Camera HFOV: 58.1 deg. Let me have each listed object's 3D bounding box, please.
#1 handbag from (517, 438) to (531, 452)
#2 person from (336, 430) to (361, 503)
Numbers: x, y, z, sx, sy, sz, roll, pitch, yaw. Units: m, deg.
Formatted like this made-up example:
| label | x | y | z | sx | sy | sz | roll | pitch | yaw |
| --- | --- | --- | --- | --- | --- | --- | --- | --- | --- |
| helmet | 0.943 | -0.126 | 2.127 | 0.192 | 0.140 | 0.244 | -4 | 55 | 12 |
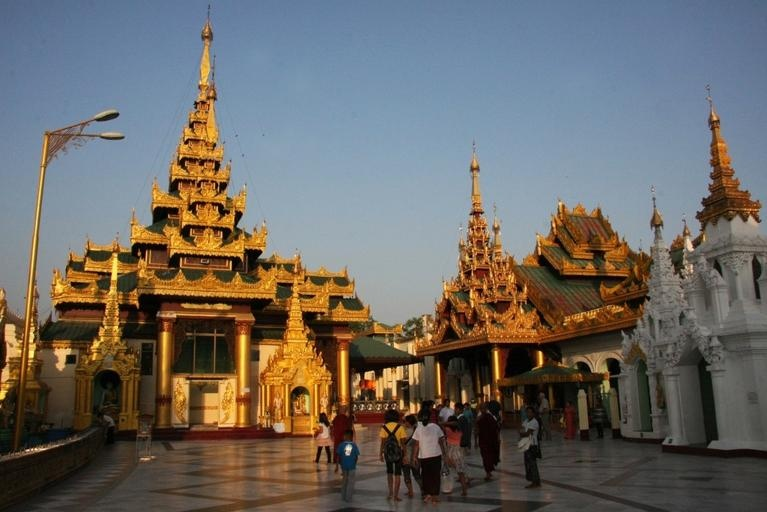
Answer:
| label | x | y | z | sx | sy | sz | roll | pitch | yaw |
| --- | --- | --- | --- | --- | --- | --- | --- | --- | --- |
| handbag | 3.330 | 4.394 | 16.088 | 0.314 | 0.309 | 0.203 | -5 | -15 | 8 |
| person | -0.789 | 4.877 | 16.063 | 0.424 | 1.535 | 1.286 | -3 | -14 | -4 |
